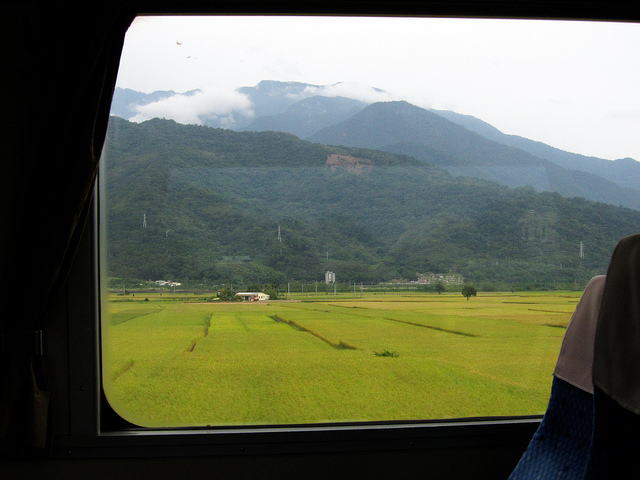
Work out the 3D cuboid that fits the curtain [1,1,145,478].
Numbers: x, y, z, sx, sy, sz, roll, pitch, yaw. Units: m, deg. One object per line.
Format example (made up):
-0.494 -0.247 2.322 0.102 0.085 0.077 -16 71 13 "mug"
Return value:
-1.381 0.003 2.806 0.630 2.504 0.264 4 4 -20 "curtain"
